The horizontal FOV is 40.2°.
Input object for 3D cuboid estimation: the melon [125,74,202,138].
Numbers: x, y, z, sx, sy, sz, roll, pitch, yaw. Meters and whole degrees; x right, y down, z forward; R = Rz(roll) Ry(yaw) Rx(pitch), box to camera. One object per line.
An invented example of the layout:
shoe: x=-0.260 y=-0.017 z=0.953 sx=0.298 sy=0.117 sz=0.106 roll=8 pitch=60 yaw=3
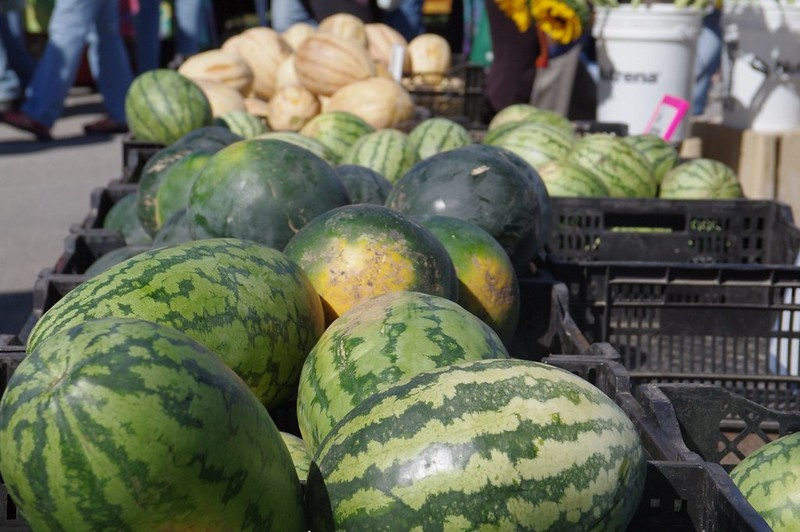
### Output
melon: x=-1.542 y=-1.031 z=7.276 sx=0.482 sy=0.442 sz=0.388 roll=15 pitch=12 yaw=32

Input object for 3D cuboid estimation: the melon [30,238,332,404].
melon: x=-0.906 y=0.227 z=4.564 sx=1.055 sy=0.679 sz=0.596 roll=-18 pitch=1 yaw=-31

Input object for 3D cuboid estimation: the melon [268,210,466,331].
melon: x=-0.120 y=-0.043 z=4.705 sx=0.571 sy=0.527 sz=0.455 roll=-1 pitch=11 yaw=40
